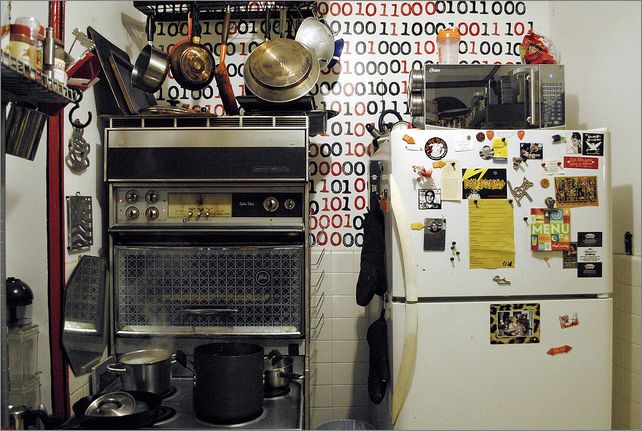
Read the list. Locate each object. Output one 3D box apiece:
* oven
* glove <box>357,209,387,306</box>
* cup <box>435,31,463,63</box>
[{"bbox_3d":[-0.624,0.061,3.943,1.046,1.363,0.729,1,13,-5],"label":"oven"},{"bbox_3d":[0.289,0.248,3.686,0.144,0.431,0.145,-4,-5,32],"label":"glove"},{"bbox_3d":[0.707,-0.934,3.819,0.115,0.218,0.161,-1,-3,10],"label":"cup"}]
